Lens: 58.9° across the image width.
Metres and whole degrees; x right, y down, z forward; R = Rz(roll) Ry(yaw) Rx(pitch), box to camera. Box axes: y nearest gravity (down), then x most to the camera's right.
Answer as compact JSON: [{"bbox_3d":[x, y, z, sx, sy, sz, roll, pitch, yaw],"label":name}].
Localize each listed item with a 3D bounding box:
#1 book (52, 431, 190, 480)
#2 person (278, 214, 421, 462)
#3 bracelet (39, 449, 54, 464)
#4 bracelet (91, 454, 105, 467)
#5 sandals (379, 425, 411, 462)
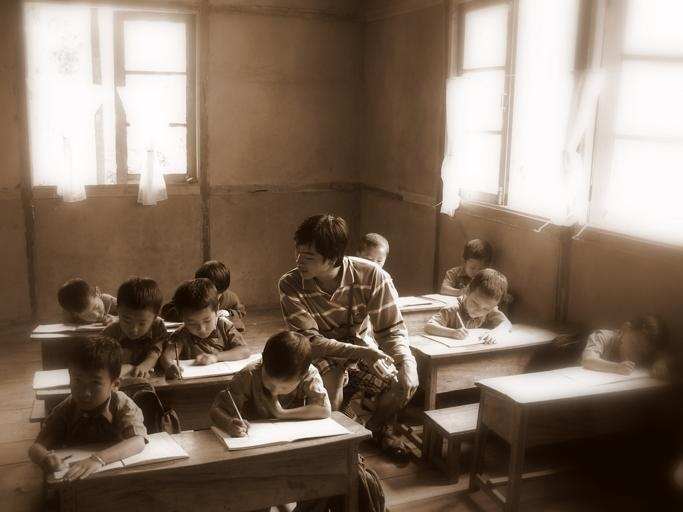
[{"bbox_3d":[-0.937,0.837,2.549,0.532,0.048,0.226,-6,12,-24],"label":"book"},{"bbox_3d":[0.046,0.475,3.419,0.686,1.381,0.910,-3,5,5],"label":"person"},{"bbox_3d":[-1.202,0.823,2.482,0.039,0.059,0.036,47,31,14],"label":"bracelet"},{"bbox_3d":[-0.990,0.826,2.455,0.048,0.017,0.038,17,-3,27],"label":"bracelet"},{"bbox_3d":[0.324,1.179,3.823,0.144,0.077,0.204,-10,22,-29],"label":"sandals"}]
